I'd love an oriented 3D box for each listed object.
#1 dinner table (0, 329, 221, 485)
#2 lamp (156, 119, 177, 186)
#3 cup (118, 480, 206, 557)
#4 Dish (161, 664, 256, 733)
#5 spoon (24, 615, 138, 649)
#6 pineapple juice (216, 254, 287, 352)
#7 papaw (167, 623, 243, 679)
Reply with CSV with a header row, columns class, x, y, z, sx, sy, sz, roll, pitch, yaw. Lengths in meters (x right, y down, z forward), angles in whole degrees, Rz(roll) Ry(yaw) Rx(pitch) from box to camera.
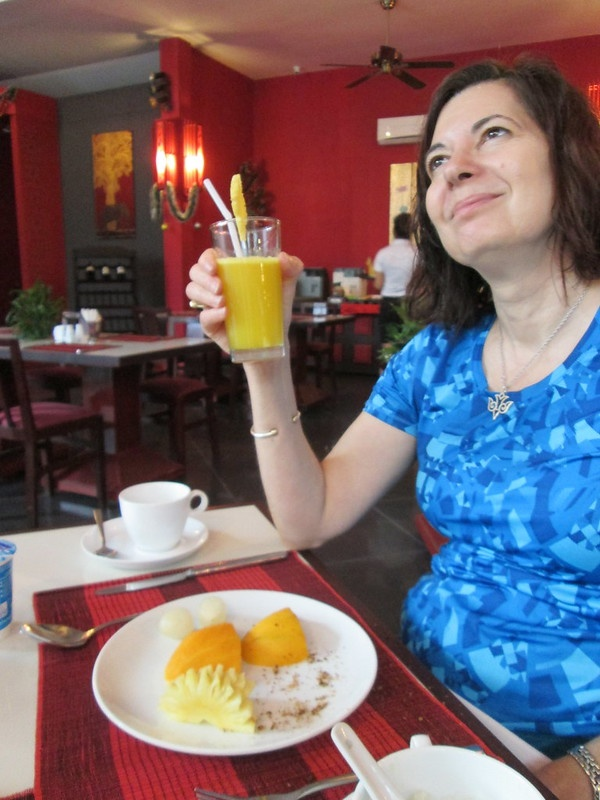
class,x,y,z,sx,sy,sz,roll,pitch,yaw
dinner table,-0.937,-0.015,3.335,0.863,0.657,0.855,8,13,33
lamp,-1.269,-2.349,6.304,0.207,0.615,0.181,-2,13,-11
cup,-0.206,0.177,1.001,0.123,0.068,0.094,0,5,-9
Dish,-0.078,0.272,0.595,0.074,0.046,0.032,2,-21,9
spoon,-0.245,0.259,0.738,0.142,0.022,0.032,2,0,-38
pineapple juice,-0.071,-0.133,0.979,0.098,0.153,0.046,-2,13,-14
papaw,-0.093,0.252,0.665,0.064,0.043,0.026,-16,-5,-32
